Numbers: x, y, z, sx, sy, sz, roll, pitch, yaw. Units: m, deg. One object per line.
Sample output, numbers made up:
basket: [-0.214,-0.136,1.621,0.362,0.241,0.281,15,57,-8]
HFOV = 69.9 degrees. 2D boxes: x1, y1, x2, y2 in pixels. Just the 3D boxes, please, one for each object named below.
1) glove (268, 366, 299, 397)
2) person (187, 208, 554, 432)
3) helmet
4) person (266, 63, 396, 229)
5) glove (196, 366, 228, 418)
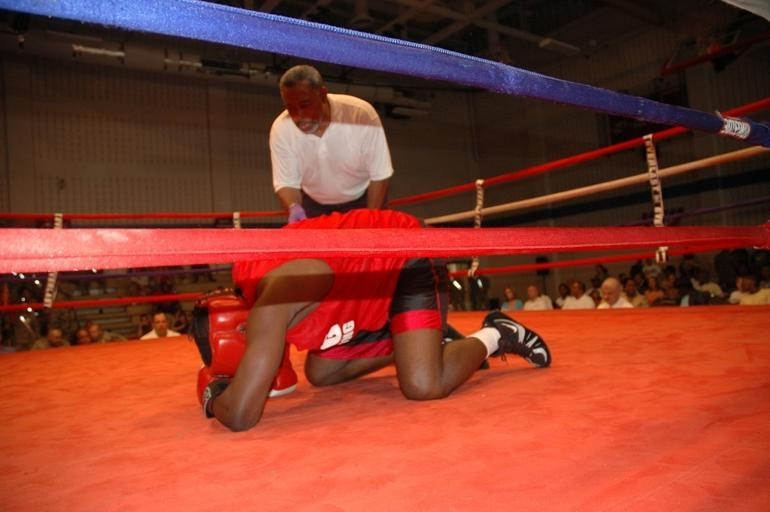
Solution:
glove: [-0.463,0.579,2.532,0.096,0.144,0.160,-6,-8,30]
person: [0.001,0.240,2.574,1.659,0.786,0.840,1,4,-15]
helmet: [-0.710,0.347,2.570,0.357,0.342,0.267,1,-6,-32]
person: [-0.331,-0.576,3.164,0.728,0.933,0.880,0,31,6]
glove: [-0.717,0.563,2.284,0.125,0.143,0.354,6,-16,-30]
